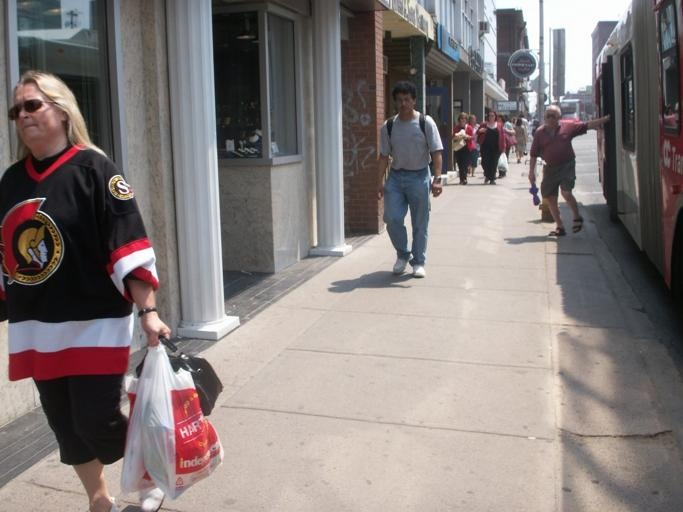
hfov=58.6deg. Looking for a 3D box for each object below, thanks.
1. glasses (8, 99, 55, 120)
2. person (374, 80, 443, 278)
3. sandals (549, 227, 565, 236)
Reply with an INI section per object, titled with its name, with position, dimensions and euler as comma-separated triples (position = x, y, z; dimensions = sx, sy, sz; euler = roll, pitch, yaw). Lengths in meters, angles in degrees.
[glasses]
position = -1.444, -0.686, 2.782
dimensions = 0.106, 0.040, 0.117
euler = -13, 13, 5
[person]
position = 0.878, -0.991, 7.923
dimensions = 0.828, 2.495, 0.544
euler = 1, 10, 12
[sandals]
position = 3.672, -0.427, 10.303
dimensions = 0.256, 0.110, 0.124
euler = -5, 7, -26
